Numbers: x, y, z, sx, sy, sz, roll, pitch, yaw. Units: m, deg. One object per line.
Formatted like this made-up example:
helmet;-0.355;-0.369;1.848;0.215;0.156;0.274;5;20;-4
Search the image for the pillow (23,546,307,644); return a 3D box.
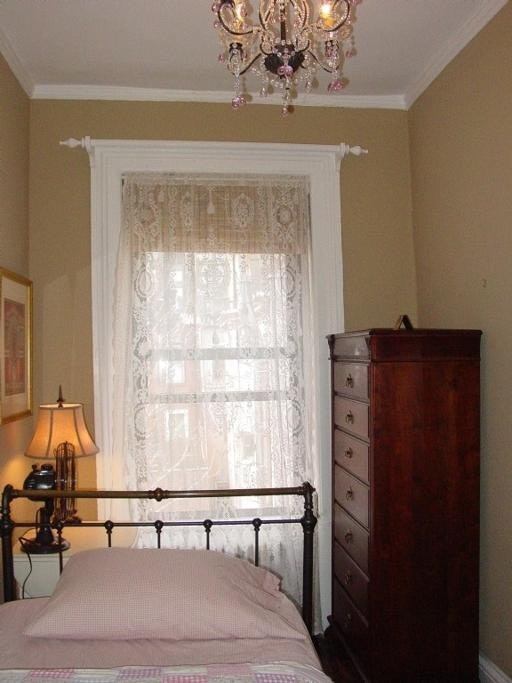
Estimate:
pillow;-0.273;0.809;1.841;0.563;0.143;0.385;1;-4;-7
